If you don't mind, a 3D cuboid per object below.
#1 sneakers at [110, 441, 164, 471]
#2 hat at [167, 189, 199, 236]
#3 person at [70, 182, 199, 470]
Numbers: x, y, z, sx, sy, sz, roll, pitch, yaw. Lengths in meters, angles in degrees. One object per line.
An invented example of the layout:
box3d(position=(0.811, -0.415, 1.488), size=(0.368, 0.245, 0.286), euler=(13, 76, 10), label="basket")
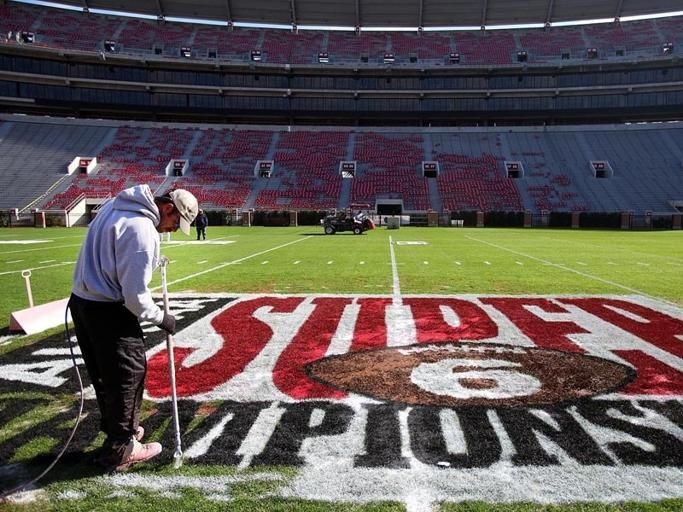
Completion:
box3d(position=(-1.720, 1.688, 3.945), size=(0.150, 0.148, 0.410), euler=(17, 16, 36), label="sneakers")
box3d(position=(-1.431, -0.408, 4.221), size=(0.255, 0.392, 0.301), euler=(-25, 3, 5), label="hat")
box3d(position=(-1.794, 0.577, 3.939), size=(0.877, 2.360, 0.652), euler=(-6, 11, -32), label="person")
